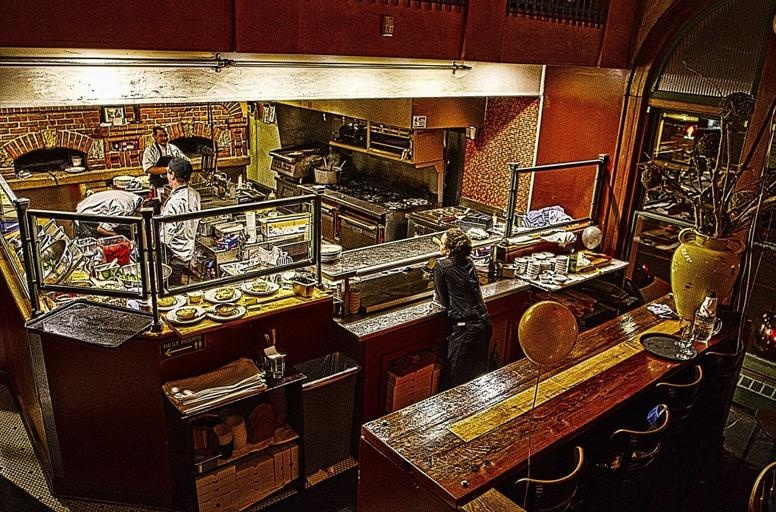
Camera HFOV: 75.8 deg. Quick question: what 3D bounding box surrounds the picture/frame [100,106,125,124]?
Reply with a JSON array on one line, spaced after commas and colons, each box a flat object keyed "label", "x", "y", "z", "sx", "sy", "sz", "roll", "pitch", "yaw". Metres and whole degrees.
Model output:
[{"label": "picture/frame", "x": -4.911, "y": -2.470, "z": 8.825, "sx": 0.368, "sy": 0.301, "sz": 0.394, "roll": -12, "pitch": 24, "yaw": -27}]

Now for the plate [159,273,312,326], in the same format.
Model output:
[{"label": "plate", "x": -1.540, "y": 0.440, "z": 4.850, "sx": 1.085, "sy": 0.151, "sz": 0.554, "roll": -12, "pitch": 30, "yaw": -31}]

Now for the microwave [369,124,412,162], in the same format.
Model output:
[{"label": "microwave", "x": 0.034, "y": -1.809, "z": 7.975, "sx": 0.892, "sy": 0.444, "sz": 0.628, "roll": 25, "pitch": 31, "yaw": 37}]

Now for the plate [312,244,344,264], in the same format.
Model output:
[{"label": "plate", "x": -0.691, "y": -0.023, "z": 5.674, "sx": 0.220, "sy": 0.100, "sz": 0.222, "roll": 6, "pitch": 26, "yaw": 9}]

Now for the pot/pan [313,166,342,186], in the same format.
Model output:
[{"label": "pot/pan", "x": -1.127, "y": -1.479, "z": 9.160, "sx": 0.376, "sy": 0.220, "sz": 0.380, "roll": 8, "pitch": 22, "yaw": 18}]

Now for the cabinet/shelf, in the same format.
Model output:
[{"label": "cabinet/shelf", "x": -0.186, "y": -2.010, "z": 8.398, "sx": 0.601, "sy": 0.783, "sz": 2.154, "roll": -17, "pitch": 28, "yaw": -39}]
